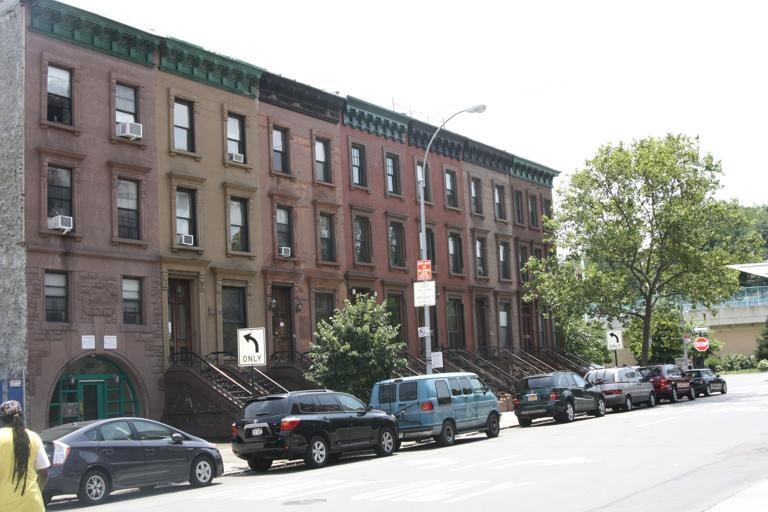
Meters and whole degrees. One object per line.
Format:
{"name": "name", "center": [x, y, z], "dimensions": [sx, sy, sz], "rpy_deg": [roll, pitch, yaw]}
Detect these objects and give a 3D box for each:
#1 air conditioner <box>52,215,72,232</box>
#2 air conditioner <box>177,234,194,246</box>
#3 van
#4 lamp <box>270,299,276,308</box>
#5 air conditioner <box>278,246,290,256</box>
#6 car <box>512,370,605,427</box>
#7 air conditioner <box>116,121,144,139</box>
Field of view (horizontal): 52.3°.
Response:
{"name": "air conditioner", "center": [-12.394, -1.275, 30.331], "dimensions": [0.502, 0.708, 0.929], "rpy_deg": [-1, -5, 34]}
{"name": "air conditioner", "center": [-8.566, -0.710, 33.672], "dimensions": [0.405, 0.550, 0.781], "rpy_deg": [-6, -8, 32]}
{"name": "van", "center": [2.025, 5.523, 29.619], "dimensions": [2.428, 2.091, 4.617], "rpy_deg": [-7, -4, 43]}
{"name": "lamp", "center": [-5.155, 2.150, 36.307], "dimensions": [0.349, 0.404, 0.359], "rpy_deg": [0, -9, -1]}
{"name": "air conditioner", "center": [-4.745, -0.250, 37.314], "dimensions": [0.619, 0.440, 0.255], "rpy_deg": [2, 9, -26]}
{"name": "car", "center": [7.917, 6.388, 35.343], "dimensions": [4.500, 2.468, 1.748], "rpy_deg": [0, 11, -38]}
{"name": "air conditioner", "center": [-10.686, -5.153, 32.518], "dimensions": [0.743, 0.526, 0.768], "rpy_deg": [-6, -10, 36]}
